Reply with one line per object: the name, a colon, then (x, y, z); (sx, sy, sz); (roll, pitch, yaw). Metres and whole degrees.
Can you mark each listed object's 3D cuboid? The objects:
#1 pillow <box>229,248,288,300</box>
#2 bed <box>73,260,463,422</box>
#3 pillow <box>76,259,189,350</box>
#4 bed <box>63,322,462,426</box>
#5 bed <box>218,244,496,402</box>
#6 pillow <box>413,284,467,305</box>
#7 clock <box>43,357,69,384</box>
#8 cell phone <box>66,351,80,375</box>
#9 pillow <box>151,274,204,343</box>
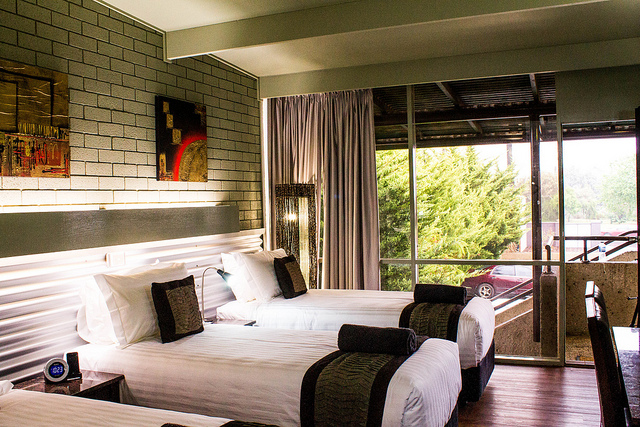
pillow: (-0.752, 0.767, 5.313); (0.625, 0.540, 0.182); (-8, -24, -47)
bed: (-0.566, 1.037, 3.650); (3.165, 1.063, 0.971); (0, 9, 18)
pillow: (-1.799, 0.785, 4.212); (0.657, 0.667, 0.899); (-12, -7, 34)
bed: (-0.356, 1.278, 3.611); (2.420, 0.589, 1.293); (-1, -3, 16)
bed: (0.437, 1.237, 5.427); (3.062, 1.381, 1.805); (-1, -3, 20)
pillow: (1.299, 0.858, 4.775); (0.537, 0.186, 0.201); (-1, 9, 14)
clock: (-2.108, 1.254, 3.532); (0.173, 0.179, 0.108); (7, -19, -38)
cell phone: (-2.017, 1.213, 3.608); (0.077, 0.169, 0.068); (-9, 11, -30)
pillow: (-1.342, 0.888, 4.105); (0.213, 0.554, 0.591); (-23, -11, 28)
